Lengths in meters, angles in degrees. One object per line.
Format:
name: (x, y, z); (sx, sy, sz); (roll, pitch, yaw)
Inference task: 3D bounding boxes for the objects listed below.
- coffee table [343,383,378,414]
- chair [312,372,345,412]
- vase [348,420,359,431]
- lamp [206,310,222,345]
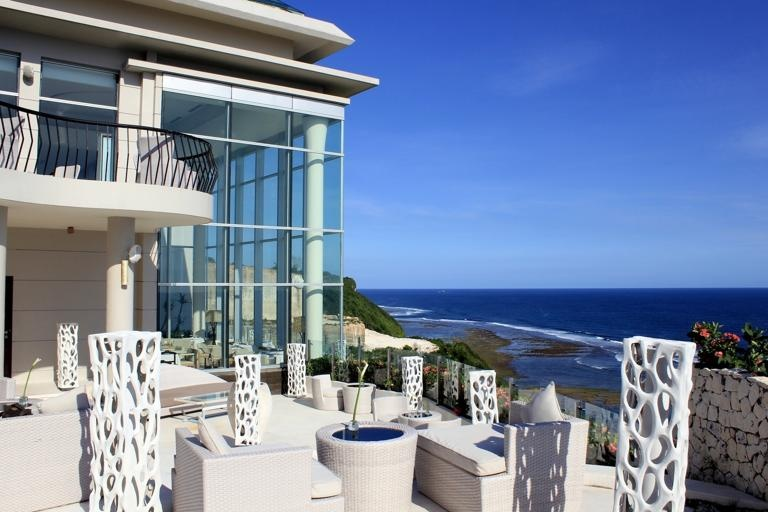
coffee table: (-0.614, 3.345, 12.990); (0.806, 0.534, 0.736); (4, -6, -22)
chair: (-1.424, 3.440, 13.834); (0.936, 0.712, 0.927); (-3, -6, 29)
vase: (-0.471, 2.421, 7.856); (0.166, 0.146, 0.159); (1, -8, 11)
lamp: (-5.168, 2.187, 16.648); (0.393, 0.996, 0.432); (-12, -11, 32)
